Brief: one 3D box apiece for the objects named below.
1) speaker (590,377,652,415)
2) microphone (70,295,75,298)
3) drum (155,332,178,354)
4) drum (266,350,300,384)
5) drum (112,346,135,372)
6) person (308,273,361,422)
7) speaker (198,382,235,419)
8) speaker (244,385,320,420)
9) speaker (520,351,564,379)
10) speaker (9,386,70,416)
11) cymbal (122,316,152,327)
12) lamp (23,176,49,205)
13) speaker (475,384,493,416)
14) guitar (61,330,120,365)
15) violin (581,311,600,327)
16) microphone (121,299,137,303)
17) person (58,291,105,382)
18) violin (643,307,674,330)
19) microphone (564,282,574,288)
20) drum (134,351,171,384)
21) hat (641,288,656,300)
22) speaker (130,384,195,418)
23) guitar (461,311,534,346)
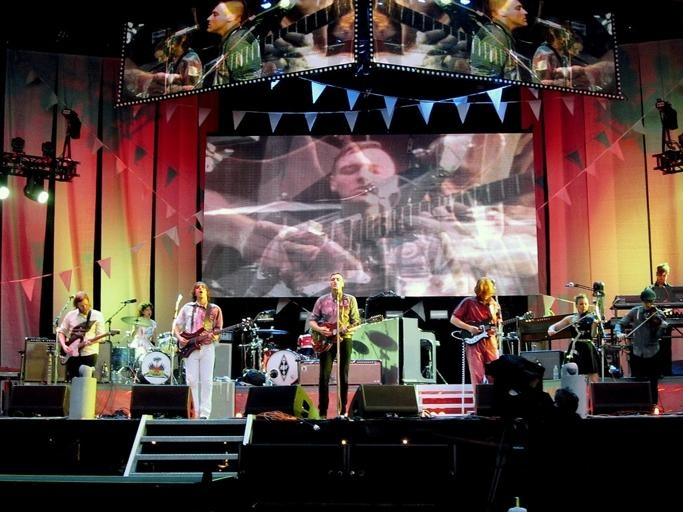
[{"bbox_3d":[3.613,1.828,11.673,0.607,0.408,0.479,-2,6,6],"label":"speaker"},{"bbox_3d":[-4.788,0.711,15.865,0.118,0.052,0.117,-4,-6,16],"label":"microphone"},{"bbox_3d":[-3.055,1.498,15.457,0.400,0.366,0.390,1,-3,-31],"label":"drum"},{"bbox_3d":[-0.993,1.900,15.153,0.421,0.433,0.174,22,-9,11],"label":"drum"},{"bbox_3d":[-3.805,1.792,15.495,0.411,0.406,0.407,3,-4,-22],"label":"drum"},{"bbox_3d":[-0.108,1.227,12.527,0.706,2.026,0.577,1,-9,0],"label":"person"},{"bbox_3d":[-1.790,2.168,13.393,0.490,0.650,0.478,2,-15,-13],"label":"speaker"},{"bbox_3d":[-0.806,1.925,11.901,0.937,0.427,0.382,1,-8,-2],"label":"speaker"},{"bbox_3d":[2.774,1.501,12.277,0.615,0.417,0.337,-6,-11,42],"label":"speaker"},{"bbox_3d":[-4.089,1.959,12.264,0.600,0.366,0.462,0,2,0],"label":"speaker"},{"bbox_3d":[-3.612,1.147,15.894,0.332,0.161,0.620,-5,-10,35],"label":"cymbal"},{"bbox_3d":[-5.408,-1.192,15.946,0.504,0.485,0.375,12,7,24],"label":"lamp"},{"bbox_3d":[1.831,1.852,11.526,0.222,0.403,0.094,-4,-10,30],"label":"speaker"},{"bbox_3d":[-3.973,1.378,13.761,0.655,0.428,0.505,3,-9,-16],"label":"guitar"},{"bbox_3d":[3.727,0.895,13.404,0.307,0.284,0.167,10,-25,10],"label":"violin"},{"bbox_3d":[-4.009,0.836,16.812,0.103,0.110,0.398,16,-14,-40],"label":"microphone"},{"bbox_3d":[-4.128,1.316,14.110,0.696,1.287,1.304,10,8,-12],"label":"person"},{"bbox_3d":[4.706,0.930,13.339,0.426,0.282,0.170,40,-10,41],"label":"violin"},{"bbox_3d":[4.081,0.512,16.048,0.160,0.078,0.221,0,-6,7],"label":"microphone"},{"bbox_3d":[-3.095,1.875,15.116,0.720,0.720,0.498,0,-11,-9],"label":"drum"},{"bbox_3d":[4.522,0.562,13.215,0.195,0.087,0.271,3,2,17],"label":"hat"},{"bbox_3d":[-2.415,1.942,11.967,0.789,0.438,0.279,3,-9,-12],"label":"speaker"},{"bbox_3d":[2.319,1.085,13.322,0.919,0.291,0.122,-18,-28,11],"label":"guitar"}]
